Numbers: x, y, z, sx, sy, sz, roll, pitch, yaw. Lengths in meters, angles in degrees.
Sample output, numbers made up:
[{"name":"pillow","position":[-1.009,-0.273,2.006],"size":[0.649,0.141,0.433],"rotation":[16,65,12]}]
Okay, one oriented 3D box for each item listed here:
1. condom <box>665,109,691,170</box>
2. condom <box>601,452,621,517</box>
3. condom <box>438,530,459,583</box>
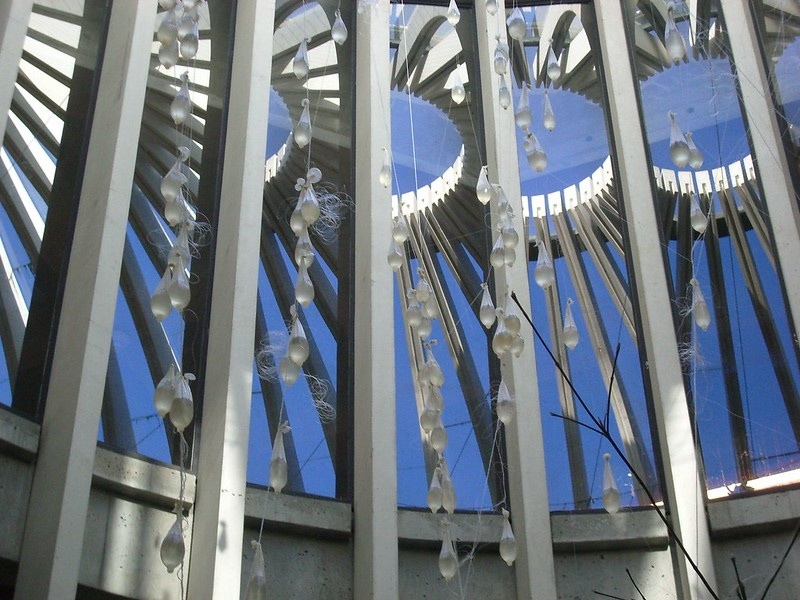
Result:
[{"name":"condom","position":[1.796,-1.060,4.315],"size":[0.114,0.386,0.133],"rotation":[-4,-15,14]},{"name":"condom","position":[1.322,1.154,4.220],"size":[0.102,0.358,0.099],"rotation":[-3,-12,26]},{"name":"condom","position":[0.284,1.509,3.960],"size":[0.099,0.326,0.105],"rotation":[6,12,29]}]
